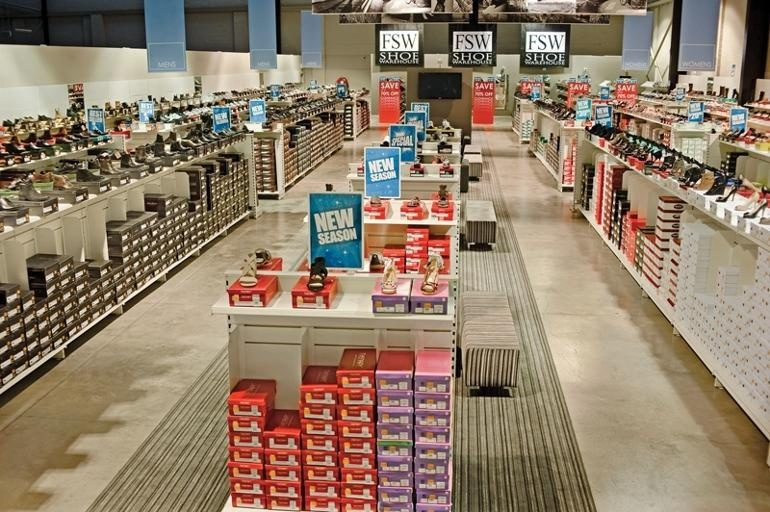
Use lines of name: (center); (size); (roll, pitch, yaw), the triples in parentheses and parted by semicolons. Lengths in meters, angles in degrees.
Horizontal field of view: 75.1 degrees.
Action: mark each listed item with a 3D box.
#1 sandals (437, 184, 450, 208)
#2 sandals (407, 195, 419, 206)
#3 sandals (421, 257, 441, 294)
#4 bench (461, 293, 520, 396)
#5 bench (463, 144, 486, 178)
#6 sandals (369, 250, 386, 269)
sandals: (0.734, -0.752, 6.293); (0.134, 0.162, 0.423); (2, 18, 6)
sandals: (0.356, -0.672, 6.197); (0.091, 0.095, 0.288); (2, 12, 5)
sandals: (0.298, 0.125, 3.179); (0.089, 0.097, 0.260); (1, 29, 9)
bench: (1.101, 0.965, 5.296); (0.323, 0.346, 0.872); (0, 24, 5)
bench: (2.492, -2.644, 14.052); (0.492, 0.398, 1.831); (-1, 20, 3)
sandals: (-0.062, 0.043, 4.105); (0.122, 0.117, 0.164); (0, 5, 3)
